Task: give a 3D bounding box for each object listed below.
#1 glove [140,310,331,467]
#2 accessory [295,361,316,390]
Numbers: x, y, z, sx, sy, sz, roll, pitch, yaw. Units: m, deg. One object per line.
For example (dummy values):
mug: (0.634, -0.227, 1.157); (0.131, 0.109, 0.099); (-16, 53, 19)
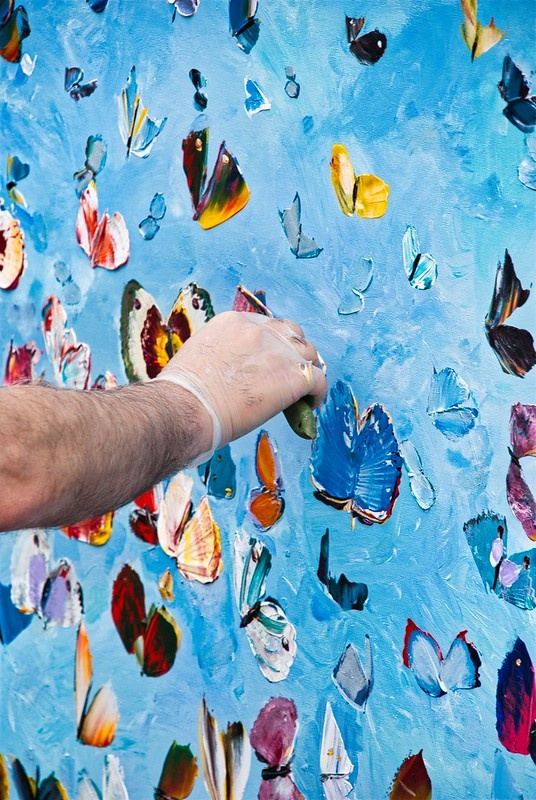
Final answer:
glove: (-0.039, -0.025, 1.021); (0.228, 0.083, 0.141); (-33, 90, -37)
accessory: (0.046, -0.030, 0.976); (0.007, 0.020, 0.029); (-12, 75, 24)
